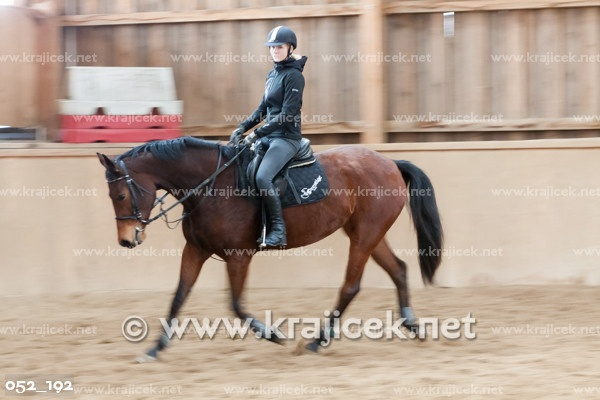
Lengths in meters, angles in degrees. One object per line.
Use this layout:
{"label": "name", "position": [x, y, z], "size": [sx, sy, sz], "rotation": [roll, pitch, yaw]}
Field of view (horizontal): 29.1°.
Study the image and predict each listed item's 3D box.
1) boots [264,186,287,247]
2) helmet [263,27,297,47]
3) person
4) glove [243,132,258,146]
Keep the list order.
{"label": "boots", "position": [-0.326, 0.235, 14.457], "size": [0.267, 0.646, 0.142], "rotation": [-1, 7, -2]}
{"label": "helmet", "position": [-0.215, -2.081, 14.577], "size": [0.381, 0.173, 0.273], "rotation": [-3, 3, -44]}
{"label": "person", "position": [-0.331, -0.822, 14.571], "size": [0.554, 2.725, 0.714], "rotation": [3, 8, 30]}
{"label": "glove", "position": [-0.610, -0.781, 14.752], "size": [0.229, 0.117, 0.084], "rotation": [-33, -33, 4]}
